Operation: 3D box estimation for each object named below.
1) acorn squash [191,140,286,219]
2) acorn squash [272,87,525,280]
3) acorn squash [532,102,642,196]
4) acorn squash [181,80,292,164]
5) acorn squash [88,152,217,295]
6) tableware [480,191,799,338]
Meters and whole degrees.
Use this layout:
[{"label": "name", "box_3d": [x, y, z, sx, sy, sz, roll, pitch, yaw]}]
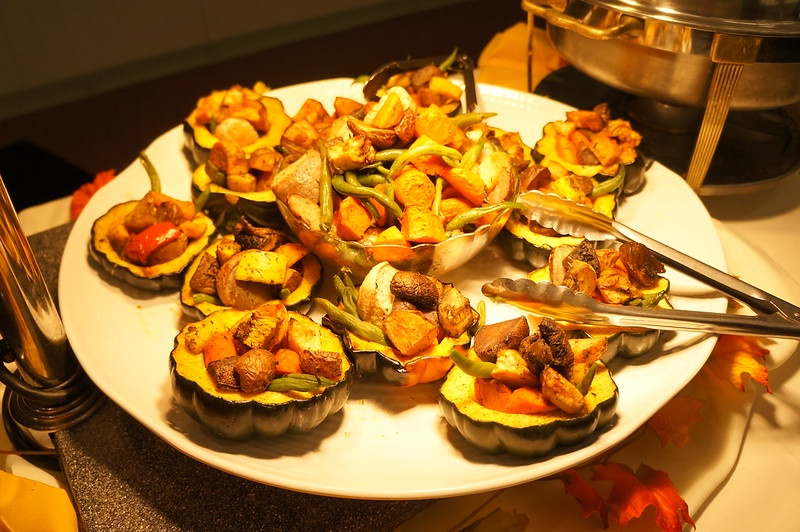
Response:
[{"label": "acorn squash", "box_3d": [-0.481, -0.247, 1.871, 0.203, 0.151, 0.259, -12, 31, -17]}, {"label": "acorn squash", "box_3d": [-0.001, -0.206, 1.689, 0.548, 0.303, 0.536, -13, 48, -11]}, {"label": "acorn squash", "box_3d": [0.576, -0.319, 2.038, 0.294, 0.138, 0.283, 35, 48, 18]}, {"label": "acorn squash", "box_3d": [-0.511, -0.417, 2.070, 0.298, 0.128, 0.282, -18, 59, -10]}, {"label": "acorn squash", "box_3d": [-0.695, -0.097, 1.750, 0.263, 0.148, 0.328, -8, 56, -12]}, {"label": "tableware", "box_3d": [0.623, 0.033, 1.633, 0.745, 0.186, 0.371, 16, 51, 14]}]
